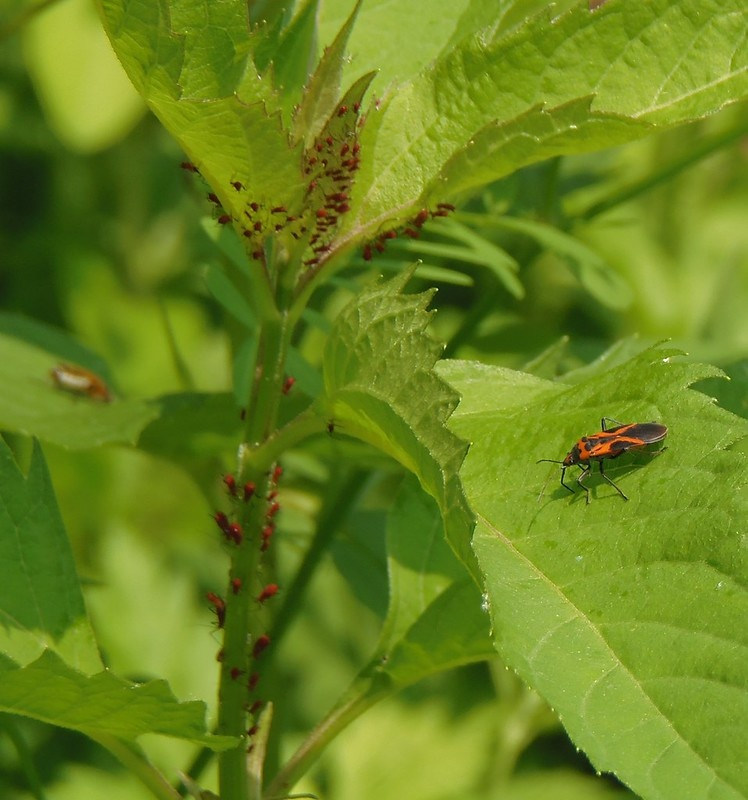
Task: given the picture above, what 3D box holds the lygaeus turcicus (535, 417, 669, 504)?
[{"bbox_3d":[0.254,0.057,1.187,0.125,0.037,0.081,-26,37,-7],"label":"lygaeus turcicus"}]
